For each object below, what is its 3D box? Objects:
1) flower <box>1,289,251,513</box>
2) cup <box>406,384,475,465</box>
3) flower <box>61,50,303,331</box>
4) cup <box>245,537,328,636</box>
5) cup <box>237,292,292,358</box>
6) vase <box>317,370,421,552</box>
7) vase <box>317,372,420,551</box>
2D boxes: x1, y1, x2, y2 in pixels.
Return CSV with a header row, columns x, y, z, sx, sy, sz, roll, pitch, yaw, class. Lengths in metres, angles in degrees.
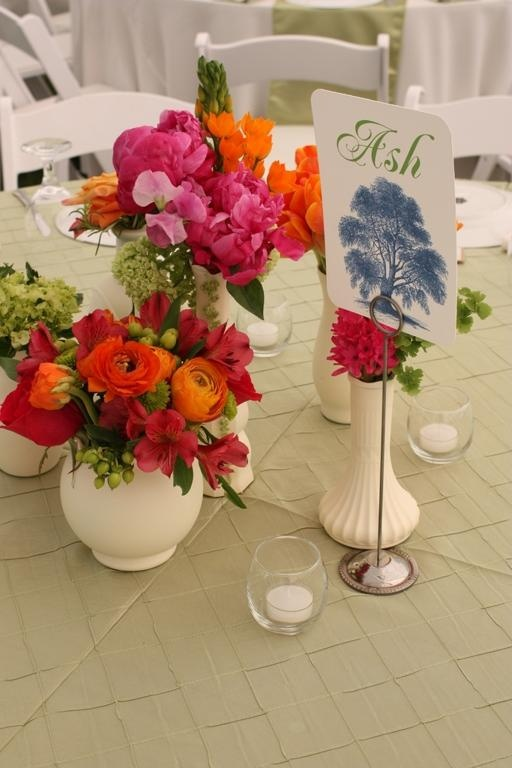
x,y,z,sx,sy,sz,roll,pitch,yaw,class
-0.109,0.023,0.533,0.164,0.114,0.161,17,22,15,flower
0.196,0.044,0.759,0.087,0.078,0.083,-3,28,2,cup
-0.038,-0.175,0.634,0.245,0.228,0.231,7,31,3,flower
0.026,0.155,0.550,0.076,0.066,0.072,-1,28,0,cup
0.018,-0.080,0.963,0.090,0.080,0.085,-1,30,0,cup
0.109,0.078,0.636,0.104,0.148,0.100,-22,38,-29,vase
0.109,0.079,0.636,0.102,0.146,0.098,-22,37,-28,vase
